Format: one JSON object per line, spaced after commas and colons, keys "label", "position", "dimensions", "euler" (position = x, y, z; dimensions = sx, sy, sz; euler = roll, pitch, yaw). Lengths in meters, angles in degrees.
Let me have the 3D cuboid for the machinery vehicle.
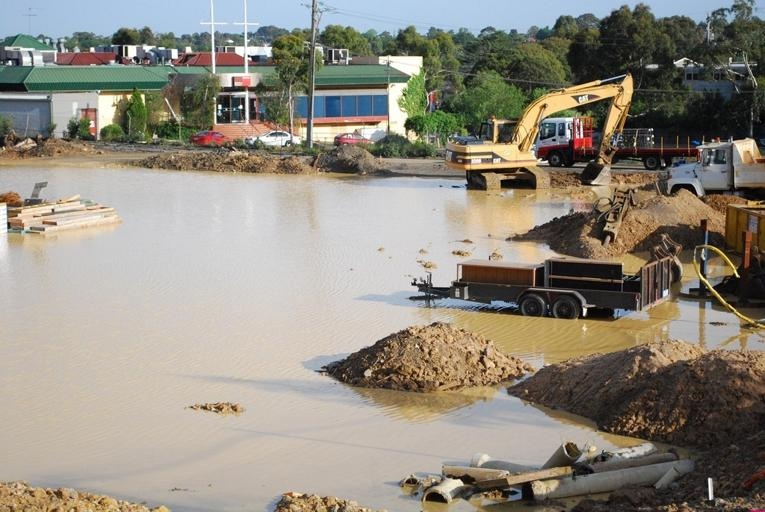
{"label": "machinery vehicle", "position": [7.242, -5.556, 52.865], "dimensions": [8.138, 5.193, 3.321], "euler": [-5, 15, -18]}
